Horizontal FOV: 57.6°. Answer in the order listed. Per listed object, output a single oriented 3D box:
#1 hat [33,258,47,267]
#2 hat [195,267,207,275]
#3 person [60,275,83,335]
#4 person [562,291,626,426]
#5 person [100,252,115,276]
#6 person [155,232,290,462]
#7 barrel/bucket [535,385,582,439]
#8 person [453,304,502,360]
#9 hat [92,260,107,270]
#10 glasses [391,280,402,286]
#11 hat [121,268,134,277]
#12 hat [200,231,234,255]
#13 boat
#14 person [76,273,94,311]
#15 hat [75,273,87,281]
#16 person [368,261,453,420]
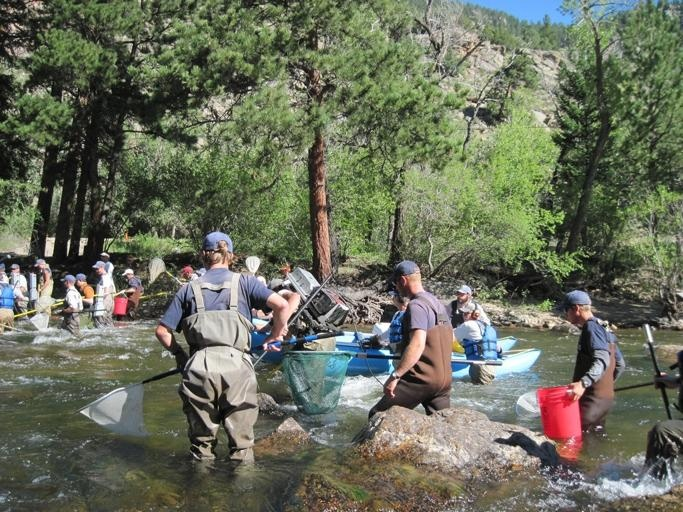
[{"bbox_3d":[-10.216,0.222,21.108,0.324,0.174,0.251,14,16,23],"label":"hat"},{"bbox_3d":[-3.539,0.370,15.613,0.235,0.230,0.237,2,-14,0],"label":"hat"},{"bbox_3d":[-6.602,1.186,15.345,0.459,0.930,1.144,3,-2,-23],"label":"person"},{"bbox_3d":[3.173,1.347,7.897,0.675,1.803,1.217,1,-2,25],"label":"person"},{"bbox_3d":[-7.402,0.255,19.708,0.391,1.183,0.728,-1,14,-22],"label":"person"},{"bbox_3d":[-1.315,1.184,6.783,1.321,2.123,0.415,2,-2,-8],"label":"person"},{"bbox_3d":[2.693,1.947,7.712,0.514,0.693,0.261,1,-2,14],"label":"barrel/bucket"},{"bbox_3d":[2.495,1.392,11.649,0.777,1.012,0.924,1,-2,12],"label":"person"},{"bbox_3d":[-7.167,0.264,18.481,0.381,0.203,0.285,8,-6,-3],"label":"hat"},{"bbox_3d":[0.674,0.326,7.656,0.081,0.076,0.064,-6,-2,39],"label":"glasses"},{"bbox_3d":[-7.256,0.554,21.180,0.275,0.199,0.378,-8,-12,34],"label":"hat"},{"bbox_3d":[-1.420,-0.186,6.991,0.319,0.235,0.513,9,3,-19],"label":"hat"},{"bbox_3d":[0.786,1.524,9.884,5.047,0.827,1.205,4,-8,-8],"label":"boat"},{"bbox_3d":[-7.047,1.008,17.091,0.523,1.352,0.697,1,10,-14],"label":"person"},{"bbox_3d":[-7.712,0.613,18.447,0.351,0.217,0.266,12,7,24],"label":"hat"},{"bbox_3d":[0.905,0.993,7.423,0.915,1.878,0.712,2,-2,-5],"label":"person"}]
